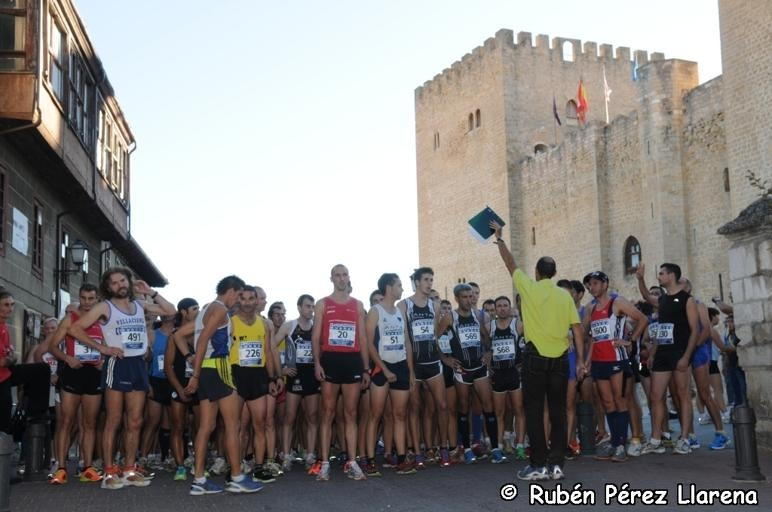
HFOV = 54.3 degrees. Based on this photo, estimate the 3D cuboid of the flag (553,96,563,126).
[{"bbox_3d":[10.435,-8.977,46.270,0.298,1.674,1.017,-11,-18,26],"label":"flag"}]
